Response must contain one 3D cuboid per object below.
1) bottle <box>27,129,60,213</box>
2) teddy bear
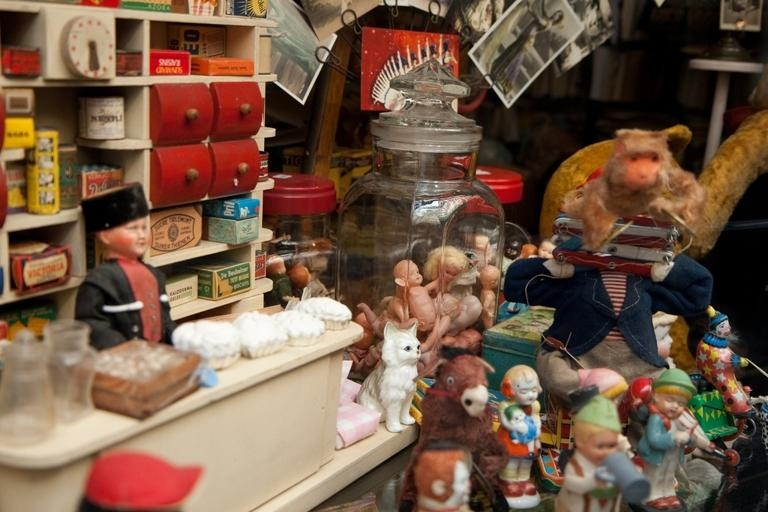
[{"bbox_3d":[-1.160,-0.287,2.019,0.128,0.279,0.084,-10,23,-24],"label":"bottle"},{"bbox_3d":[0.931,-0.238,2.205,0.397,0.272,0.482,-1,4,4],"label":"teddy bear"}]
